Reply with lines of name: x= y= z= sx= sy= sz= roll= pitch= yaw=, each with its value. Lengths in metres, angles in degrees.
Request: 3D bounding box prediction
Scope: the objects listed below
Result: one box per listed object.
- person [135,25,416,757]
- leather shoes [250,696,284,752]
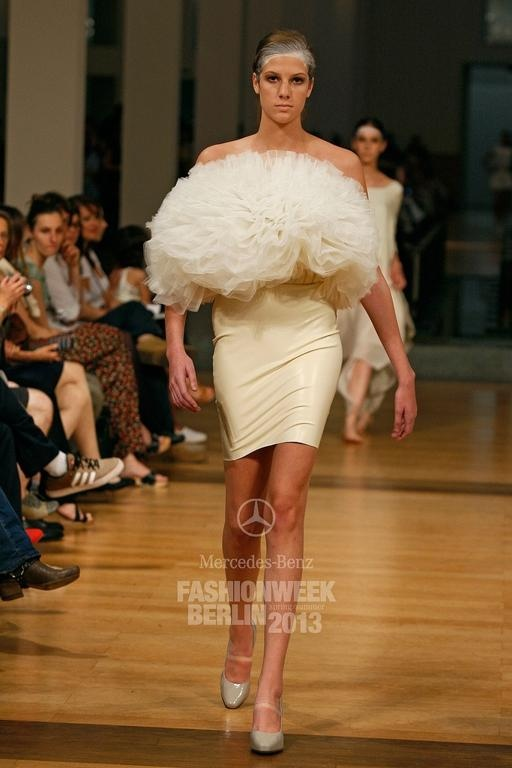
person: x=0.038 y=-0.014 z=1.665 sx=0.506 sy=1.393 sz=0.460 roll=-4 pitch=6 yaw=-41
leather shoes: x=0.018 y=0.611 z=1.458 sx=0.042 sy=0.047 sz=0.118 roll=-1 pitch=0 yaw=3
